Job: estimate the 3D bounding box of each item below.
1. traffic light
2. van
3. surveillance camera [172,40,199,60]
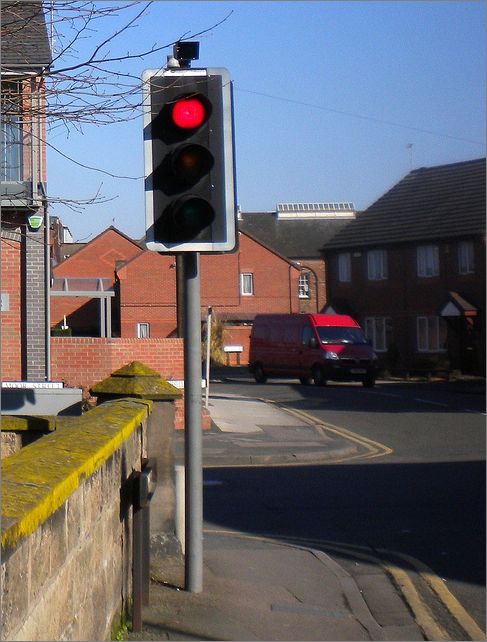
[{"bbox_3d":[-0.302,-0.924,4.861,0.683,1.082,0.315,10,0,-7],"label":"traffic light"},{"bbox_3d":[2.287,0.944,28.204,1.995,1.928,4.047,2,-6,-33],"label":"van"},{"bbox_3d":[-0.338,-1.564,4.952,0.153,0.120,0.057,10,0,16],"label":"surveillance camera"}]
